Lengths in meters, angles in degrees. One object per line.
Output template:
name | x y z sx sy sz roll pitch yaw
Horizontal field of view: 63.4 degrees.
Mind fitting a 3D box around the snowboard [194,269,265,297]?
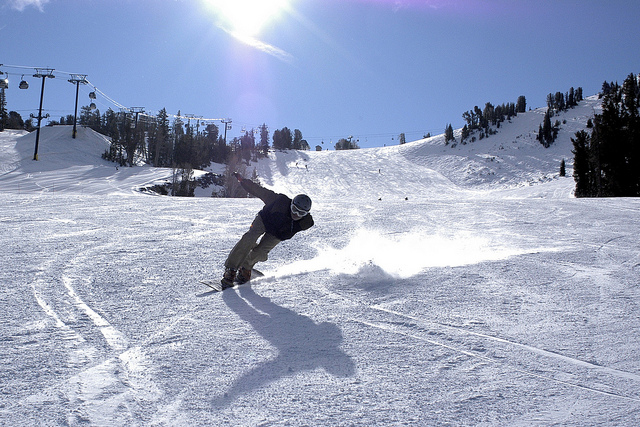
snowboard | -1.809 1.363 9.687 0.392 0.172 1.237 22 18 28
